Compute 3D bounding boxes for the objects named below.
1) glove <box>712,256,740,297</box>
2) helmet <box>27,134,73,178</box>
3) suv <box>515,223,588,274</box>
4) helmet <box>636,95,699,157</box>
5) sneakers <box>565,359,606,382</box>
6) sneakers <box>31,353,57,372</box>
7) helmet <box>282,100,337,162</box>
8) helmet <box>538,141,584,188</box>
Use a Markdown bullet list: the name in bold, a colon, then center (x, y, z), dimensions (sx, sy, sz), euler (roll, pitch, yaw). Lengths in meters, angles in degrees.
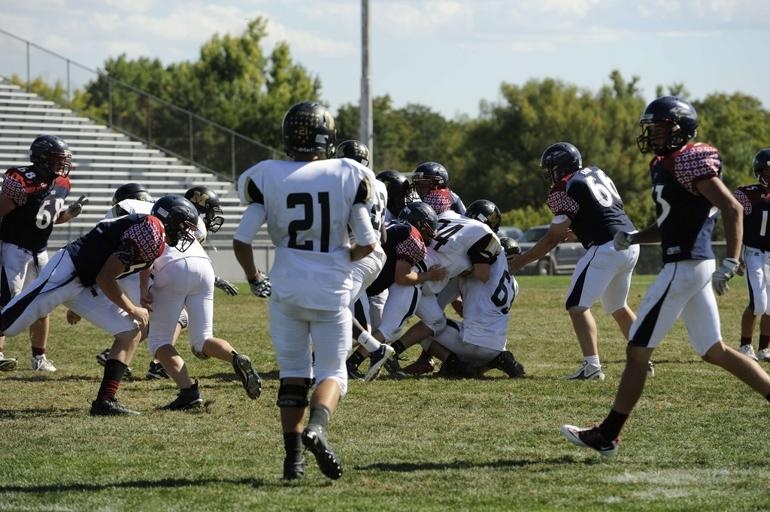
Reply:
- **glove**: center (3.048, 0.204, 10.820), dimensions (0.133, 0.329, 0.260), euler (29, 5, -10)
- **helmet**: center (-3.766, -1.119, 13.819), dimensions (0.507, 0.458, 0.406), euler (9, 5, -4)
- **suv**: center (4.439, -0.074, 31.684), dimensions (2.687, 1.334, 1.533), euler (1, -2, -31)
- **helmet**: center (2.664, -1.179, 11.274), dimensions (0.583, 0.516, 0.446), euler (-6, -6, 4)
- **sneakers**: center (2.135, 1.261, 12.945), dimensions (0.476, 0.209, 0.166), euler (1, -1, 9)
- **sneakers**: center (-3.781, 1.210, 13.571), dimensions (0.386, 0.212, 0.132), euler (3, 5, -14)
- **helmet**: center (-0.675, -1.132, 11.097), dimensions (0.485, 0.536, 0.641), euler (3, 7, 4)
- **helmet**: center (1.894, -0.982, 13.276), dimensions (0.488, 0.459, 0.386), euler (-14, -1, 28)
